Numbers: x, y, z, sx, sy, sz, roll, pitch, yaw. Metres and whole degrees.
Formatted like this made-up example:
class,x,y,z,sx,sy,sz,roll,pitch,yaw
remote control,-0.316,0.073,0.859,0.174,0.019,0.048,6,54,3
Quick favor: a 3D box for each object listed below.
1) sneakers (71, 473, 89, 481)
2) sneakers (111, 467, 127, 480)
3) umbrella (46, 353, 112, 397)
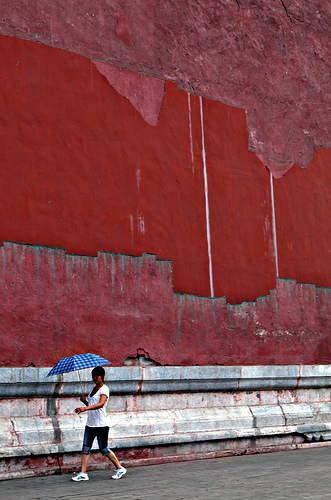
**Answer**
class,x,y,z,sx,sy,sz,roll,pitch,yaw
sneakers,-0.770,2.008,8.265,0.148,0.073,0.064,5,-4,-5
sneakers,-0.425,2.026,8.484,0.059,0.084,0.179,-17,10,45
umbrella,-0.819,1.090,8.486,0.498,0.270,0.537,-12,-1,-11
